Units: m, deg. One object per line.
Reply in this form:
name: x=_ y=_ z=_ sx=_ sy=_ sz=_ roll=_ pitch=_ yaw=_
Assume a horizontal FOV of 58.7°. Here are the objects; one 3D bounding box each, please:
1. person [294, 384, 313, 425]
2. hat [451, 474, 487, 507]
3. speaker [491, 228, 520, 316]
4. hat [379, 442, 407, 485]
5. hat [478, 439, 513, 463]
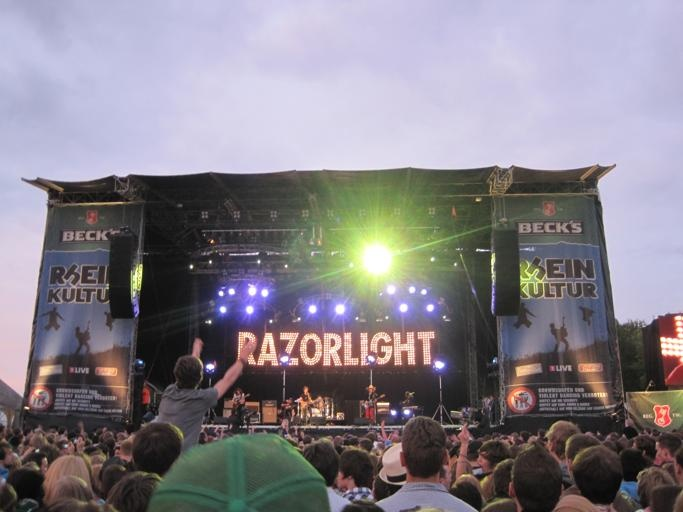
person: x=-1.626 y=6.407 z=26.335 sx=0.960 sy=1.998 sz=0.648 roll=1 pitch=-26 yaw=-2
hat: x=1.317 y=2.325 z=6.057 sx=0.301 sy=0.403 sz=0.408 roll=-7 pitch=-24 yaw=19
speaker: x=4.910 y=0.437 z=18.210 sx=0.780 sy=2.393 sz=0.762 roll=-3 pitch=-12 yaw=12
hat: x=0.529 y=2.089 z=6.176 sx=0.393 sy=0.174 sz=0.479 roll=-5 pitch=5 yaw=22
hat: x=1.959 y=2.424 z=7.708 sx=0.306 sy=0.265 sz=0.251 roll=-7 pitch=18 yaw=-12
